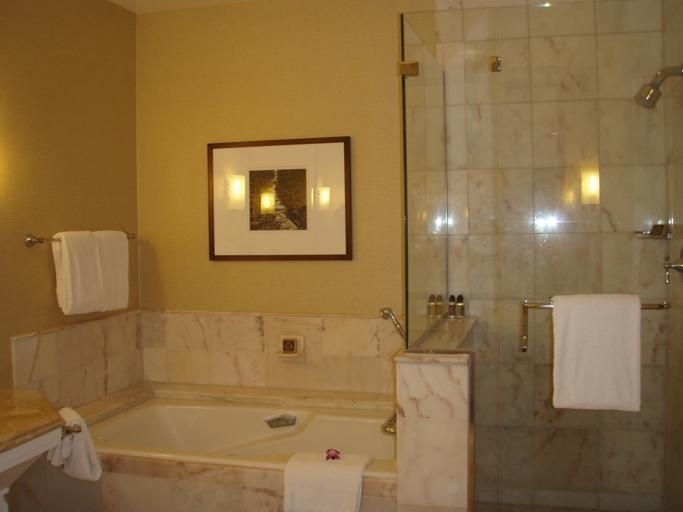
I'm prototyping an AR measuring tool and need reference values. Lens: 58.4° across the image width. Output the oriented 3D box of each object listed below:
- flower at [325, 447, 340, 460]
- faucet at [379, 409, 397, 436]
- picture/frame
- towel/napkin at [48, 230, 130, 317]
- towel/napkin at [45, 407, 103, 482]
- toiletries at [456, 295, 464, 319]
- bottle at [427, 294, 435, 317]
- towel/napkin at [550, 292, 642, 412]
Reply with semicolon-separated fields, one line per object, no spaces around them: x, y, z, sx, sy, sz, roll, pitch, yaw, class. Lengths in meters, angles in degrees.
-0.048;1.003;3.089;0.058;0.022;0.063;-3;2;9;flower
0.257;0.878;3.243;0.107;0.043;0.149;-8;12;10;faucet
-0.351;-0.370;3.870;0.692;0.649;0.025;0;4;15;picture/frame
-1.473;0.096;3.518;0.107;0.473;0.463;3;3;26;towel/napkin
-1.229;0.871;2.740;0.192;0.320;0.198;0;2;13;towel/napkin
0.580;0.245;2.968;0.042;0.112;0.012;0;2;4;toiletries
0.443;0.244;2.993;0.039;0.113;0.013;0;2;7;bottle
1.198;0.434;2.829;0.472;0.725;0.073;0;-1;11;towel/napkin
